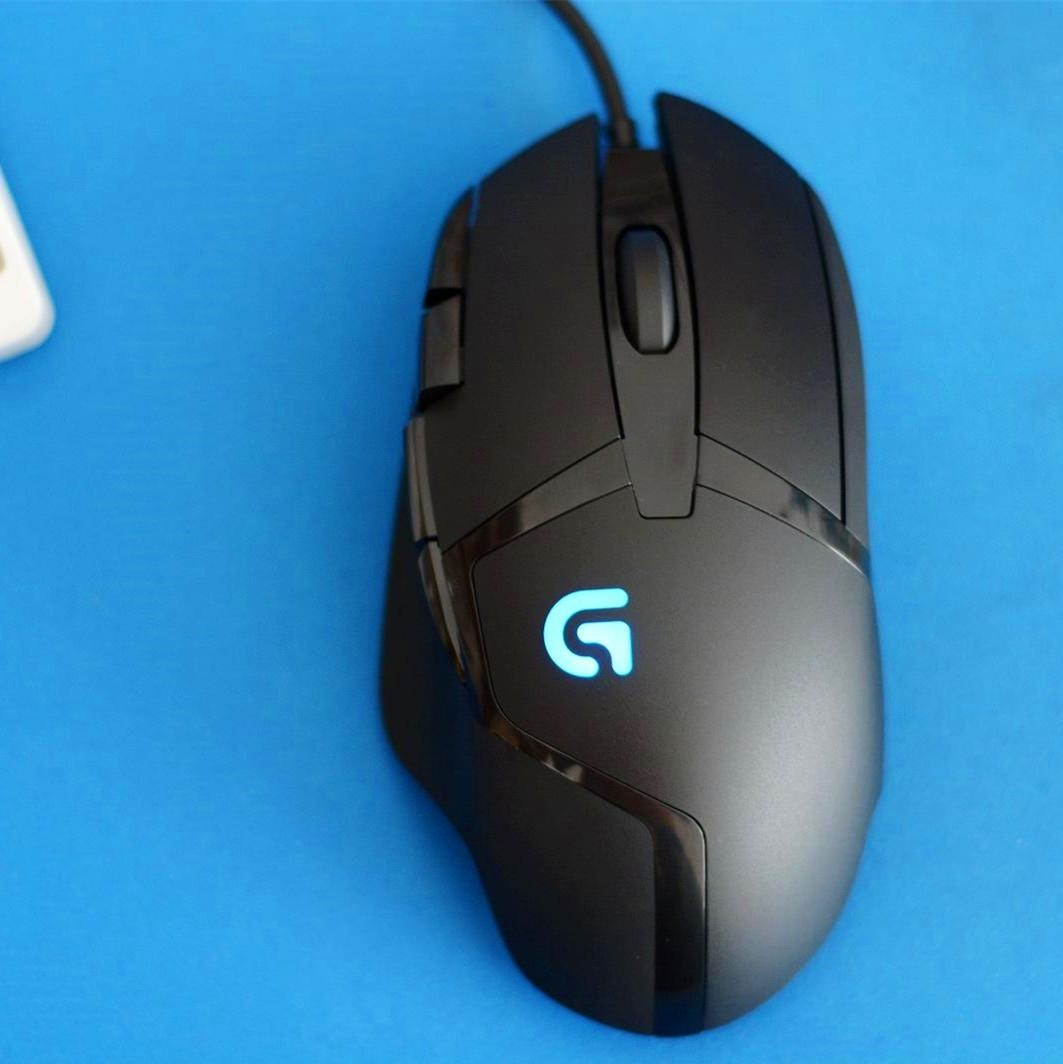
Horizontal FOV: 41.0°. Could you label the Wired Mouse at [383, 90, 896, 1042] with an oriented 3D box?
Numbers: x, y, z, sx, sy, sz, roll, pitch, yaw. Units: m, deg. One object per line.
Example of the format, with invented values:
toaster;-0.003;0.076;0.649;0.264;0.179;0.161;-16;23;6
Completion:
Wired Mouse;0.049;0.005;0.692;0.238;0.422;0.165;7;-27;-5
